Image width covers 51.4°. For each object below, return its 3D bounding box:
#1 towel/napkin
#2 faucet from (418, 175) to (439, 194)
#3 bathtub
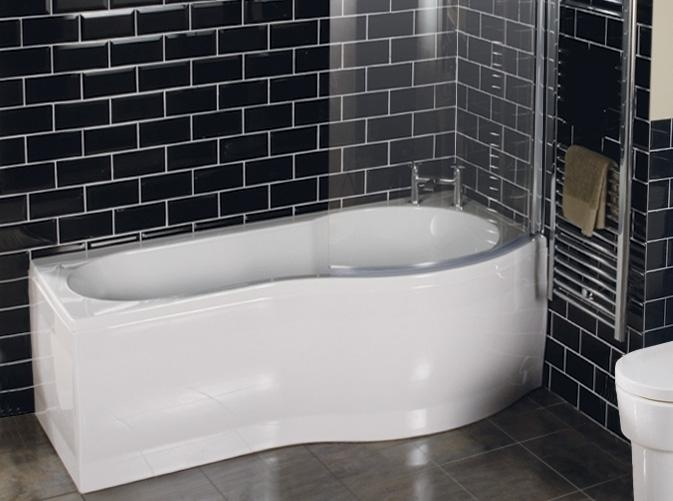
[{"bbox_3d":[1.150,-0.282,3.217,0.110,0.339,0.305,-7,22,-16],"label":"towel/napkin"},{"bbox_3d":[0.451,-0.325,3.409,0.091,0.065,0.065,-13,27,-26],"label":"faucet"},{"bbox_3d":[-0.232,0.333,3.515,2.535,1.122,1.044,-12,20,-21],"label":"bathtub"}]
